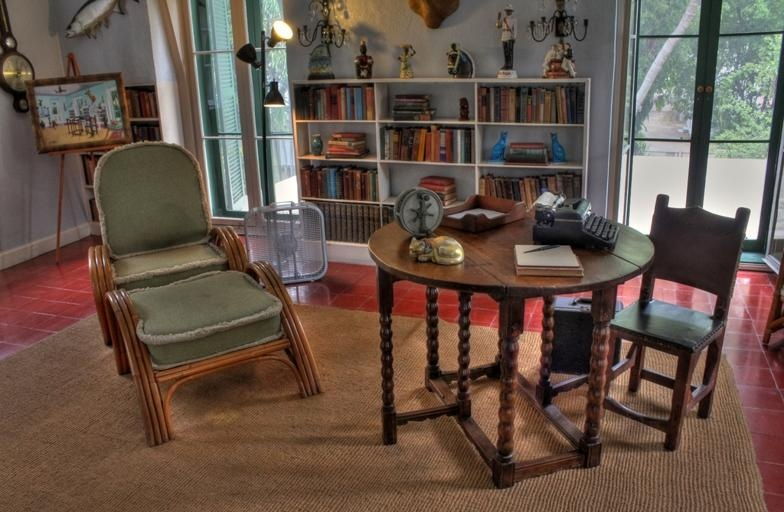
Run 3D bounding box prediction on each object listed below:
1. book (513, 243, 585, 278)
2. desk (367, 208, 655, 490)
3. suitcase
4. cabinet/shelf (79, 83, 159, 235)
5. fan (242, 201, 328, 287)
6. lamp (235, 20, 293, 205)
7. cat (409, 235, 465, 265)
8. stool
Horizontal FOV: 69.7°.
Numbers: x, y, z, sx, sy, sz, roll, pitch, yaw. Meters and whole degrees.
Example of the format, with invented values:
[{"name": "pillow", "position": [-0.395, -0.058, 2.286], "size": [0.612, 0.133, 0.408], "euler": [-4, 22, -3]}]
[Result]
[{"name": "book", "position": [0.822, 0.018, 2.971], "size": [0.342, 0.092, 0.299], "euler": [1, 17, 8]}, {"name": "desk", "position": [0.704, 0.479, 3.706], "size": [1.748, 1.329, 1.790], "euler": [-3, 18, -1]}, {"name": "suitcase", "position": [1.351, 0.543, 3.926], "size": [0.475, 0.565, 0.329], "euler": [1, 19, 5]}, {"name": "cabinet/shelf", "position": [-2.935, -1.176, 6.231], "size": [0.162, 1.499, 0.634], "euler": [20, 9, -5]}, {"name": "fan", "position": [-0.958, -0.092, 5.135], "size": [0.753, 0.743, 0.291], "euler": [-9, 23, -25]}, {"name": "lamp", "position": [-1.183, -1.369, 5.629], "size": [0.535, 1.846, 1.059], "euler": [-6, 18, -12]}, {"name": "cat", "position": [0.249, -0.035, 3.038], "size": [0.226, 0.079, 0.161], "euler": [5, 18, 20]}, {"name": "stool", "position": [-1.165, 0.487, 3.603], "size": [1.155, 0.720, 1.182], "euler": [-12, 25, -26]}]
